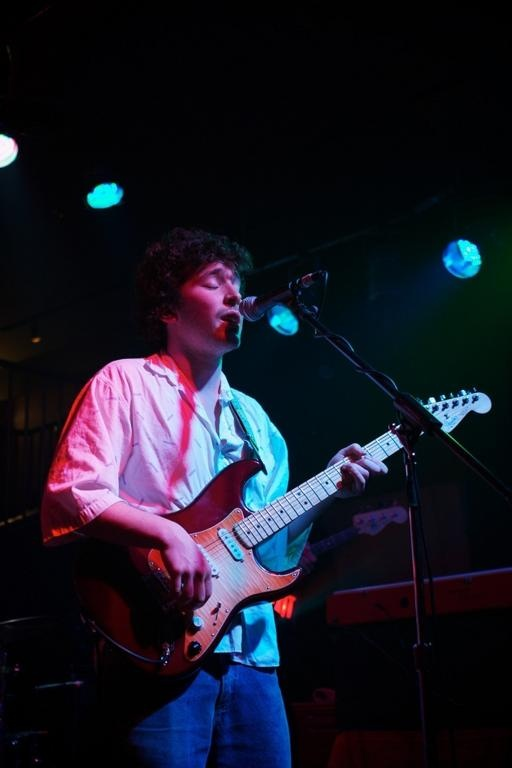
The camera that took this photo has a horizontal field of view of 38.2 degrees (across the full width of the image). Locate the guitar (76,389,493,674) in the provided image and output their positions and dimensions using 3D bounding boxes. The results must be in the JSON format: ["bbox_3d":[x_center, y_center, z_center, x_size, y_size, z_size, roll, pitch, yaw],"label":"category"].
[{"bbox_3d":[0.080,0.500,2.772,1.794,0.515,0.229,-23,-26,-46],"label":"guitar"}]

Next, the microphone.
[{"bbox_3d":[0.101,-0.334,2.943,0.410,0.118,0.120,-13,5,41],"label":"microphone"}]
